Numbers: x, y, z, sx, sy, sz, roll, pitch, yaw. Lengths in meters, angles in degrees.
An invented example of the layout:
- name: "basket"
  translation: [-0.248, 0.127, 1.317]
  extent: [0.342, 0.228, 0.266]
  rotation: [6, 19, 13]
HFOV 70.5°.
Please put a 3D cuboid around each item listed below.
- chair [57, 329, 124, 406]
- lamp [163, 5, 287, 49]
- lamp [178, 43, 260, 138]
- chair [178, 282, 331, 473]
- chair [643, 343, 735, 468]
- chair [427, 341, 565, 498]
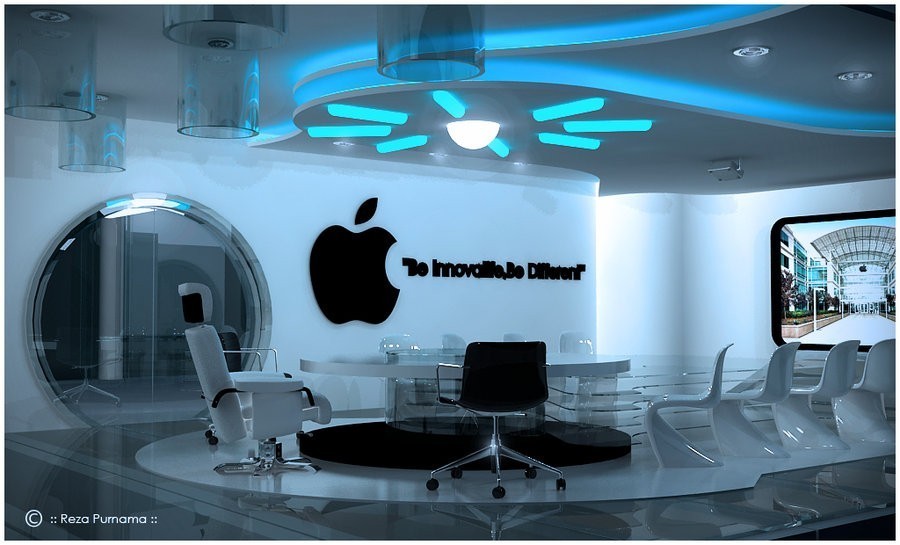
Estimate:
- name: "chair"
  translation: [-5.168, 1.460, 8.997]
  extent: [0.651, 0.565, 0.688]
  rotation: [-4, -3, 20]
- name: "lamp"
  translation: [-2.066, -2.215, 5.671]
  extent: [0.676, 0.187, 0.631]
  rotation: [1, -4, -26]
- name: "lamp"
  translation: [-2.511, -2.002, 6.945]
  extent: [0.910, 0.923, 0.934]
  rotation: [4, 5, 45]
- name: "chair"
  translation: [-2.440, 1.194, 7.515]
  extent: [2.147, 2.476, 2.044]
  rotation: [2, -6, -22]
- name: "chair"
  translation: [2.632, 1.452, 7.018]
  extent: [0.845, 1.301, 0.565]
  rotation: [-1, 4, -22]
- name: "chair"
  translation: [0.393, 1.467, 6.559]
  extent: [1.396, 1.357, 1.344]
  rotation: [5, -14, -25]
